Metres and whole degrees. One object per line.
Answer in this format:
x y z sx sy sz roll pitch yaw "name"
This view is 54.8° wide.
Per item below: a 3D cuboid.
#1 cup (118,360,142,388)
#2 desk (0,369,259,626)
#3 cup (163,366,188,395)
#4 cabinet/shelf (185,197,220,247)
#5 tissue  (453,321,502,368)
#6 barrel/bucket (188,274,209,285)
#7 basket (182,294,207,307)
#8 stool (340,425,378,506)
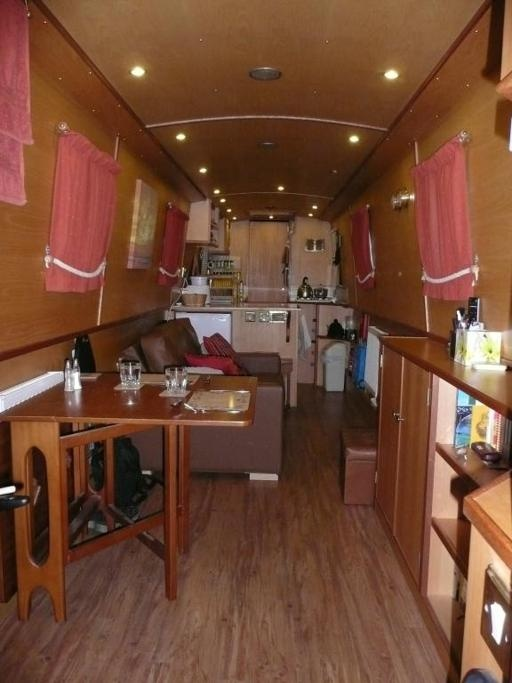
-0.580 0.139 2.255 0.099 0.135 0.113 2 6 12 "cup"
-0.496 0.640 2.123 0.785 0.839 0.847 0 14 -3 "desk"
-0.340 0.169 2.139 0.097 0.130 0.098 -1 6 0 "cup"
-0.619 -1.422 6.000 0.245 0.560 0.937 1 4 8 "cabinet/shelf"
0.768 0.008 1.734 0.128 0.159 0.145 2 2 4 "tissue "
-0.668 -0.689 5.710 0.206 0.131 0.337 0 4 -10 "barrel/bucket"
-0.675 -0.436 5.292 0.261 0.146 0.185 0 4 -9 "basket"
0.586 0.719 3.015 0.251 0.379 0.516 0 3 0 "stool"
